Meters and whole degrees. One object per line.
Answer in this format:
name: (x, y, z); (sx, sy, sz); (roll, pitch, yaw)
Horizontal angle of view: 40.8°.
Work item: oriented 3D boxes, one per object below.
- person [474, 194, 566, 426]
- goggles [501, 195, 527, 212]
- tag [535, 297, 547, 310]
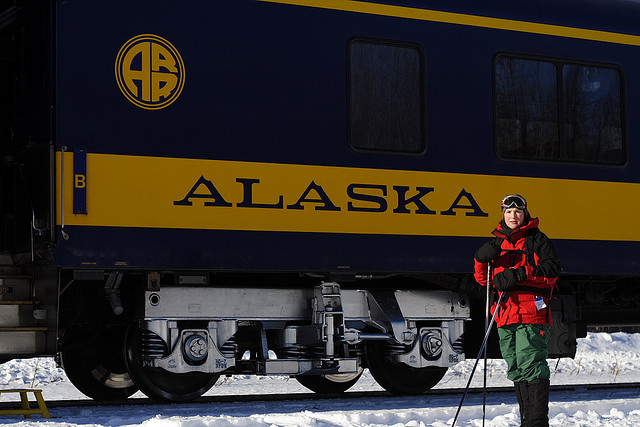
person: (2.208, 1.032, 9.356); (0.818, 2.464, 0.552); (-2, -6, 11)
goggles: (2.142, -0.131, 9.398); (0.245, 0.146, 0.164); (-2, -6, 9)
tag: (2.398, 0.953, 9.284); (0.116, 0.131, 0.017); (-11, -15, -10)
